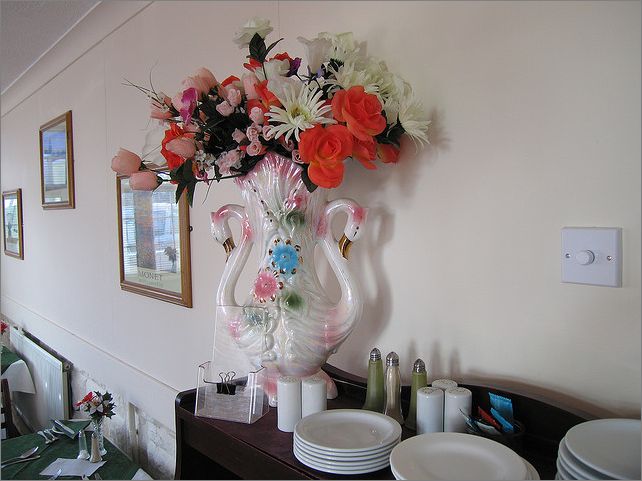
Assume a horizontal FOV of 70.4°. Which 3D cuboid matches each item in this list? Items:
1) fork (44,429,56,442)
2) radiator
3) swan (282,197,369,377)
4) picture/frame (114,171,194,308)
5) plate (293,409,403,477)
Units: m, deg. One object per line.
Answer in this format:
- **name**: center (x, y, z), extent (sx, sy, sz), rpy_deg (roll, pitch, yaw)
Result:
- **fork**: center (-1.435, 1.041, 2.413), extent (0.042, 0.012, 0.128), rpy_deg (-4, 7, -43)
- **radiator**: center (-2.012, 0.969, 3.221), extent (0.087, 0.575, 0.856), rpy_deg (-7, 13, -39)
- **swan**: center (-0.032, 0.128, 1.131), extent (0.294, 0.473, 0.189), rpy_deg (-1, -15, 28)
- **picture/frame**: center (-0.742, -0.023, 1.960), extent (0.046, 0.546, 0.695), rpy_deg (-2, 1, -44)
- **plate**: center (0.049, 0.391, 0.880), extent (0.199, 0.076, 0.148), rpy_deg (-2, 1, -14)
